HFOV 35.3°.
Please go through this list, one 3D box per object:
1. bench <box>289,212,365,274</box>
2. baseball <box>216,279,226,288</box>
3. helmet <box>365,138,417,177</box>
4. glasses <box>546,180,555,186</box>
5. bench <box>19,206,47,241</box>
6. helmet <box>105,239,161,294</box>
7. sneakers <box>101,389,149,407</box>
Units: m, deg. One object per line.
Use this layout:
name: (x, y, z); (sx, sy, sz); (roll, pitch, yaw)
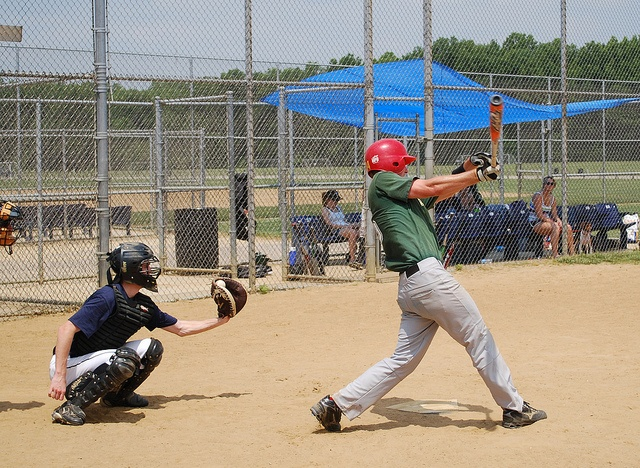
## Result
bench: (0.123, 0.151, 17.490); (0.421, 0.742, 1.150); (-3, -3, 31)
baseball: (-1.092, 0.542, 11.047); (0.085, 0.048, 0.081); (8, -1, -7)
helmet: (0.749, -0.833, 10.721); (0.486, 0.338, 0.352); (-6, 2, 6)
glasses: (4.066, -0.909, 17.686); (0.093, 0.086, 0.041); (3, 9, -4)
bench: (-5.358, -0.239, 18.725); (0.695, 0.650, 0.166); (-5, -4, -43)
helmet: (-1.996, 0.335, 11.008); (0.630, 0.538, 0.456); (-3, 1, -6)
sneakers: (-2.173, 1.856, 11.262); (0.536, 0.209, 0.189); (1, 4, -6)
